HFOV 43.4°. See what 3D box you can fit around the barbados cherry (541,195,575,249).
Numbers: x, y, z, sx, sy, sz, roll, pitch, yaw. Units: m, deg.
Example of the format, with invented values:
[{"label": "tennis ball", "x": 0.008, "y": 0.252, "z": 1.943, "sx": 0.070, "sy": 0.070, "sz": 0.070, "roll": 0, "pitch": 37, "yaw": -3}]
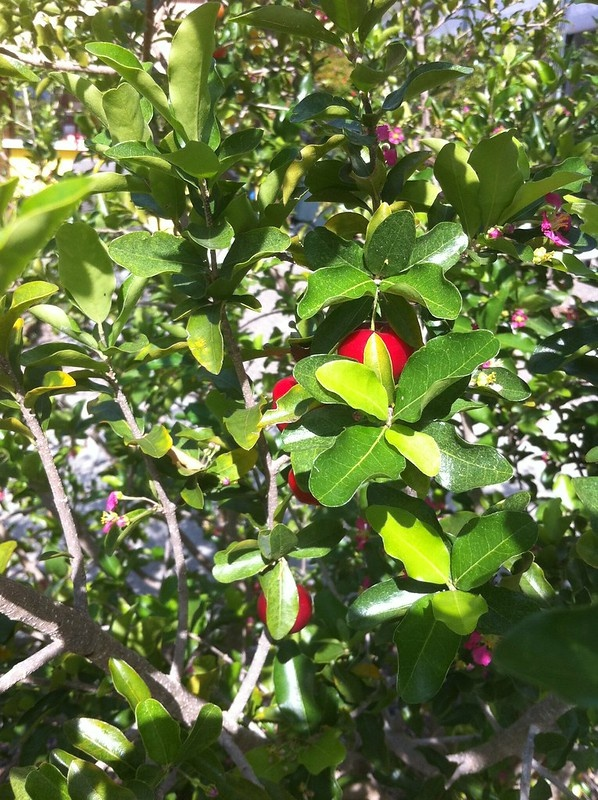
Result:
[{"label": "barbados cherry", "x": 0.544, "y": -0.378, "z": 1.597, "sx": 0.067, "sy": 0.106, "sz": 0.089, "roll": 1, "pitch": 9, "yaw": 13}]
